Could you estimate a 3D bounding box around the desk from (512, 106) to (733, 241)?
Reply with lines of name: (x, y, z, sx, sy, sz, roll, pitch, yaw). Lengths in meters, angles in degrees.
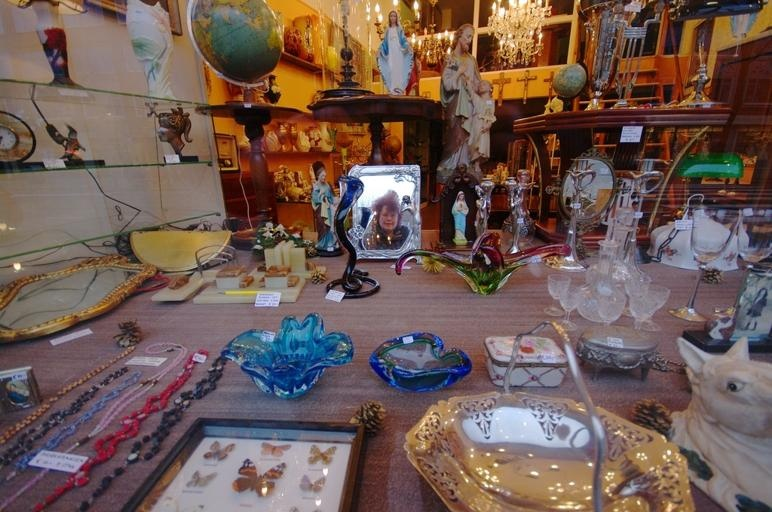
desk: (1.627, -0.554, 3.728, 1.139, 0.639, 1.099, 1, 13, 14)

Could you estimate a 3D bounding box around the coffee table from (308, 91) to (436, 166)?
coffee table: (-0.075, -0.911, 3.528, 0.976, 0.437, 0.945, 4, 12, 27)

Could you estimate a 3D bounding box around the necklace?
necklace: (-1.047, 0.737, 2.186, 0.358, 0.039, 1.188, 19, 42, 25)

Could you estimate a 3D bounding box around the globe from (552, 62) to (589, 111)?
globe: (1.324, -1.220, 3.410, 0.234, 0.314, 0.233, 4, 20, 17)

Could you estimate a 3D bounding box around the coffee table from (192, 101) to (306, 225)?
coffee table: (-0.924, -0.599, 3.396, 0.837, 0.887, 0.830, -10, 16, -35)

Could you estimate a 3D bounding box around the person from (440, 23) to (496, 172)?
person: (0.571, -1.091, 3.399, 0.406, 1.042, 0.338, 1, 20, 11)
